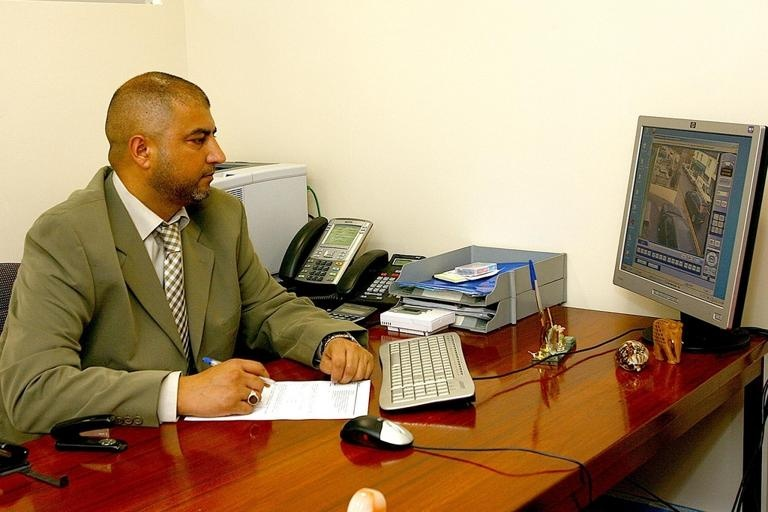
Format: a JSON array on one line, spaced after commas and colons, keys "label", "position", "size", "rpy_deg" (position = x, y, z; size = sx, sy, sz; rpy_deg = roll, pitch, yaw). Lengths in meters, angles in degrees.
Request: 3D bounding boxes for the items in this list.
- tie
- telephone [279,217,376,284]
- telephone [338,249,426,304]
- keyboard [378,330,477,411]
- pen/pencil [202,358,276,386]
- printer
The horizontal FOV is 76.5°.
[{"label": "tie", "position": [-0.661, 0.139, 1.524], "size": [0.103, 0.473, 0.111], "rpy_deg": [8, 15, -13]}, {"label": "telephone", "position": [-0.247, -0.023, 2.124], "size": [0.341, 0.311, 0.380], "rpy_deg": [12, 17, 36]}, {"label": "telephone", "position": [0.026, 0.102, 1.991], "size": [0.297, 0.103, 0.219], "rpy_deg": [-36, 20, -32]}, {"label": "keyboard", "position": [0.113, 0.325, 1.362], "size": [0.222, 0.058, 0.377], "rpy_deg": [-6, 13, 0]}, {"label": "pen/pencil", "position": [-0.391, 0.311, 1.301], "size": [0.163, 0.017, 0.018], "rpy_deg": [25, 2, 16]}, {"label": "printer", "position": [-0.658, -0.171, 2.403], "size": [0.447, 0.621, 0.613], "rpy_deg": [-13, 17, -38]}]
